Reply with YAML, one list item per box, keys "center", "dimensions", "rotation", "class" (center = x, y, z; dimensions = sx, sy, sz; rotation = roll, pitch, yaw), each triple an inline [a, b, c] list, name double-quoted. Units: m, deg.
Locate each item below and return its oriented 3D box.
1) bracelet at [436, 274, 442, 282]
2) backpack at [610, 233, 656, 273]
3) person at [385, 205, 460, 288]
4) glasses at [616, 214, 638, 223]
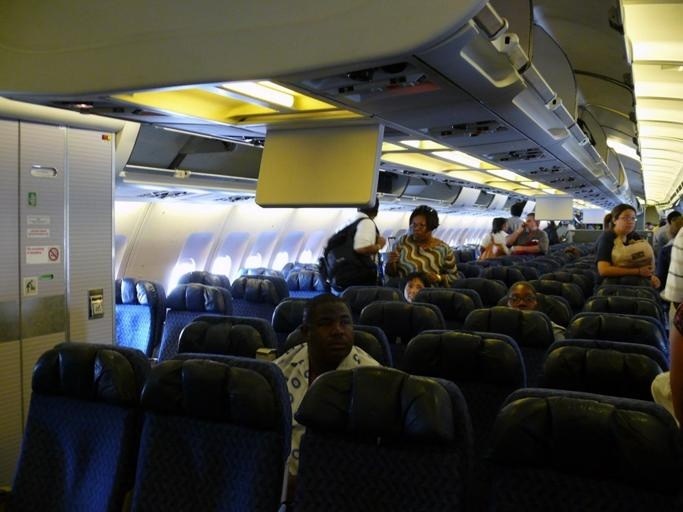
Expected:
- center: [1.084, 0.239, 5.342]
  dimensions: [0.024, 0.072, 0.073]
  rotation: [4, 2, -3]
  class: "bracelet"
- center: [3.386, -0.039, 5.631]
  dimensions: [0.487, 0.392, 0.256]
  rotation: [-4, 16, 15]
  class: "backpack"
- center: [0.922, 0.060, 5.553]
  dimensions: [0.947, 1.215, 0.630]
  rotation: [7, 7, 14]
  class: "person"
- center: [3.064, -0.408, 5.202]
  dimensions: [0.130, 0.041, 0.125]
  rotation: [4, -15, -25]
  class: "glasses"
